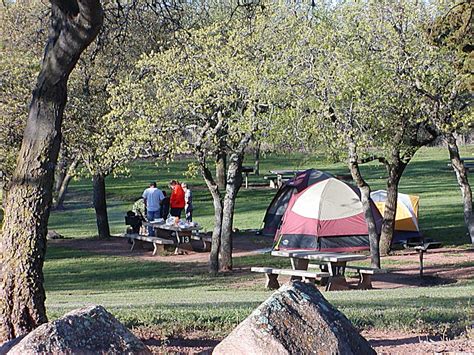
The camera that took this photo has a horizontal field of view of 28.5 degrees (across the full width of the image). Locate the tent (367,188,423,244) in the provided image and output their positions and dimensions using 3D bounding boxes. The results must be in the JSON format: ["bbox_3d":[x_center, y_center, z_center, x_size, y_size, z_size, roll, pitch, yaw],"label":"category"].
[{"bbox_3d":[7.289,1.925,41.894,1.990,1.738,2.303,-4,14,10],"label":"tent"}]

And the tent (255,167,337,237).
[{"bbox_3d":[2.721,1.176,43.332,2.945,3.621,2.876,-6,8,-34],"label":"tent"}]

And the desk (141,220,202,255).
[{"bbox_3d":[-2.938,2.591,40.060,1.900,1.646,2.067,-2,9,-37],"label":"desk"}]

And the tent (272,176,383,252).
[{"bbox_3d":[3.671,1.636,39.625,3.648,3.197,1.414,-3,-3,6],"label":"tent"}]

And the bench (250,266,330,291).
[{"bbox_3d":[1.556,3.363,31.850,0.687,0.764,2.593,5,-7,-44],"label":"bench"}]

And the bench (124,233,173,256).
[{"bbox_3d":[-3.652,2.847,40.027,1.668,0.931,1.907,-2,10,-42],"label":"bench"}]

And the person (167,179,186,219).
[{"bbox_3d":[-2.680,0.984,41.623,0.720,1.788,1.541,-2,-3,-4],"label":"person"}]
